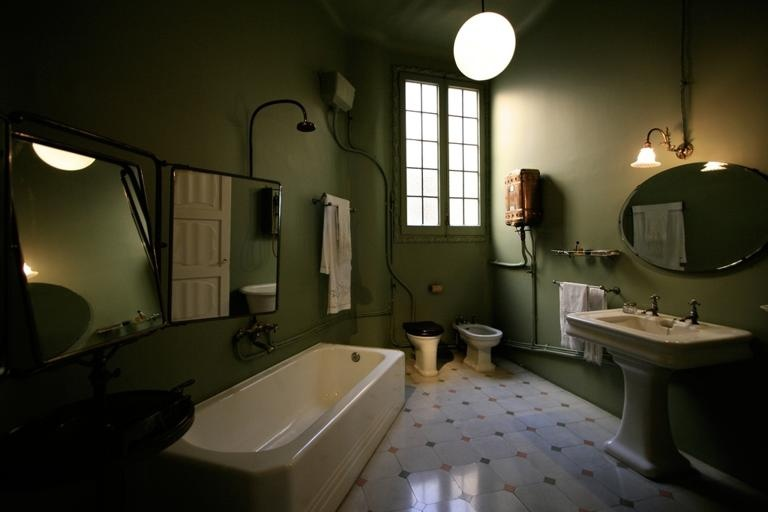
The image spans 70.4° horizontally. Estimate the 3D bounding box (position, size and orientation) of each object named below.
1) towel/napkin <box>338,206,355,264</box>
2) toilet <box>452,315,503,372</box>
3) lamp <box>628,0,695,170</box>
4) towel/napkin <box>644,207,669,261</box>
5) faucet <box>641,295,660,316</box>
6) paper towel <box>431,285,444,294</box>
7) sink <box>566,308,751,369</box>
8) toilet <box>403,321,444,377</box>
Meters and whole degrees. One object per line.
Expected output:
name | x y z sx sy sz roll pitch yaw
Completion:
towel/napkin | -0.373 -0.227 5.132 0.050 0.541 0.412 -1 3 15
toilet | 0.965 0.926 5.585 0.356 0.398 0.591 -1 5 -17
lamp | 2.090 -1.262 4.020 0.324 1.180 0.150 -1 4 27
towel/napkin | 2.060 -0.163 4.135 0.192 0.567 0.028 2 36 30
faucet | 2.013 0.365 4.138 0.154 0.170 0.133 0 2 -41
paper towel | 0.589 0.353 5.873 0.119 0.084 0.088 -2 0 -38
sink | 1.912 0.577 3.872 1.129 0.285 0.539 0 4 42
toilet | 0.424 0.938 5.486 0.364 0.514 0.552 -4 4 -7
